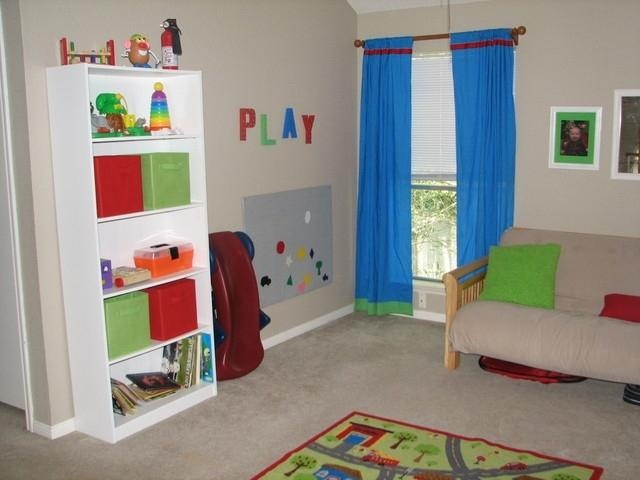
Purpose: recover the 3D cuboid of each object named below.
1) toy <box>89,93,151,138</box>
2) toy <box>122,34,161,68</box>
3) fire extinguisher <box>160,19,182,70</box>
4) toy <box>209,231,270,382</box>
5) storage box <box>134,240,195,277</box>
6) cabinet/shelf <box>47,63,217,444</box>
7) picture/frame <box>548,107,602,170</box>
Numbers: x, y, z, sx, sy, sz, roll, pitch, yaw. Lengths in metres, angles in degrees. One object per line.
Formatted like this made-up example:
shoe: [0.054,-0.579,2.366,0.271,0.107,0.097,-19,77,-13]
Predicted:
toy: [-1.255,-0.763,3.222,0.315,0.235,0.205,-2,15,-16]
toy: [-1.110,-1.154,3.258,0.242,0.211,0.130,-15,14,-42]
fire extinguisher: [-0.965,-1.241,3.394,0.125,0.314,0.218,-4,12,-16]
toy: [-0.662,0.486,3.921,0.428,1.043,0.333,-10,15,-38]
storage box: [-1.050,0.128,3.545,0.221,0.172,0.351,5,12,29]
cabinet/shelf: [-1.151,0.048,3.368,0.540,2.191,0.925,7,14,34]
picture/frame: [2.123,-0.851,4.391,0.486,0.637,0.053,6,12,33]
